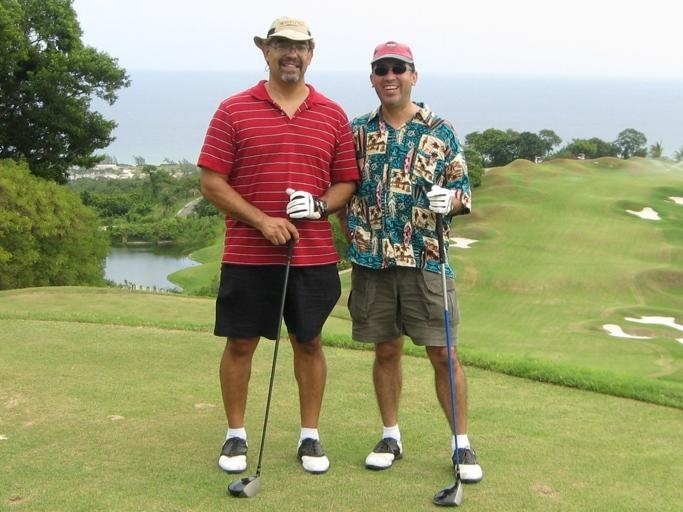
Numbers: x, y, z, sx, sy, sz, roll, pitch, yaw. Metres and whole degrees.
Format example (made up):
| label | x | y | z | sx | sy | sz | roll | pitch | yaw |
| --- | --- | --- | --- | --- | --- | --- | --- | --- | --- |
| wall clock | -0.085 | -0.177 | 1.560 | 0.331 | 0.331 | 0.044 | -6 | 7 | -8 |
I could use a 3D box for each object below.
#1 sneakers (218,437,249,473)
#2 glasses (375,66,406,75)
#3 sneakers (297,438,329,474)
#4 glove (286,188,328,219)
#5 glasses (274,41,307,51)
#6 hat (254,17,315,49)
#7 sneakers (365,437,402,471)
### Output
| label | x | y | z | sx | sy | sz | roll | pitch | yaw |
| --- | --- | --- | --- | --- | --- | --- | --- | --- | --- |
| sneakers | -0.886 | 1.612 | 5.433 | 0.251 | 0.200 | 0.572 | 3 | 6 | -4 |
| glasses | 0.422 | -1.630 | 5.756 | 0.143 | 0.038 | 0.134 | -1 | 0 | 11 |
| sneakers | -0.233 | 1.607 | 5.415 | 0.236 | 0.173 | 0.505 | 5 | 11 | -18 |
| glove | -0.285 | -0.412 | 5.398 | 0.360 | 0.249 | 0.248 | 4 | 7 | -3 |
| glasses | -0.423 | -1.753 | 5.469 | 0.265 | 0.079 | 0.050 | 3 | 7 | -6 |
| hat | -0.439 | -1.893 | 5.484 | 0.410 | 0.210 | 0.194 | 3 | 7 | -6 |
| sneakers | 0.372 | 1.655 | 5.562 | 0.208 | 0.209 | 0.524 | -2 | 1 | 30 |
